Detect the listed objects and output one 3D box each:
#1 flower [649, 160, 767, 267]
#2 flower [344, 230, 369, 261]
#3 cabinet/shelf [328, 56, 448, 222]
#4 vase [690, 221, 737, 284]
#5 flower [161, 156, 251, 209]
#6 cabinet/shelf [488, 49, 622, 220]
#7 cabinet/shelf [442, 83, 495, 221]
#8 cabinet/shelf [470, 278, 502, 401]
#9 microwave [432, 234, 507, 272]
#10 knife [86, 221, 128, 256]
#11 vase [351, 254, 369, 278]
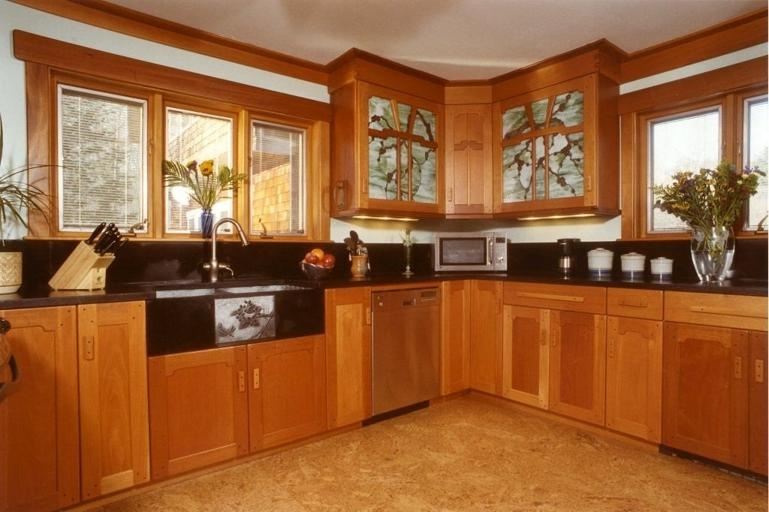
[{"bbox_3d":[2.433,-0.310,4.514,0.738,0.787,0.809,-1,0,2],"label":"flower"},{"bbox_3d":[-0.228,-0.097,5.006,0.194,0.264,0.082,0,9,25],"label":"flower"},{"bbox_3d":[-0.012,-1.081,5.018,1.457,1.560,0.700,2,-4,-40],"label":"cabinet/shelf"},{"bbox_3d":[2.465,-0.011,4.207,0.281,0.400,0.289,1,3,17],"label":"vase"},{"bbox_3d":[-1.492,-0.622,4.597,0.508,0.298,0.455,16,16,34],"label":"flower"},{"bbox_3d":[1.531,-1.092,4.904,0.713,1.563,1.387,4,-6,-42],"label":"cabinet/shelf"},{"bbox_3d":[0.808,-0.991,5.329,0.459,1.173,0.143,4,9,34],"label":"cabinet/shelf"},{"bbox_3d":[0.903,0.703,4.979,0.086,0.983,0.340,-3,4,-42],"label":"cabinet/shelf"},{"bbox_3d":[0.801,-0.025,5.210,0.600,0.335,0.378,1,-6,-7],"label":"microwave"},{"bbox_3d":[-1.950,-0.123,3.897,0.225,0.218,0.127,-2,3,-26],"label":"knife"},{"bbox_3d":[-0.214,0.090,4.898,0.193,0.221,0.187,0,4,-2],"label":"vase"}]
